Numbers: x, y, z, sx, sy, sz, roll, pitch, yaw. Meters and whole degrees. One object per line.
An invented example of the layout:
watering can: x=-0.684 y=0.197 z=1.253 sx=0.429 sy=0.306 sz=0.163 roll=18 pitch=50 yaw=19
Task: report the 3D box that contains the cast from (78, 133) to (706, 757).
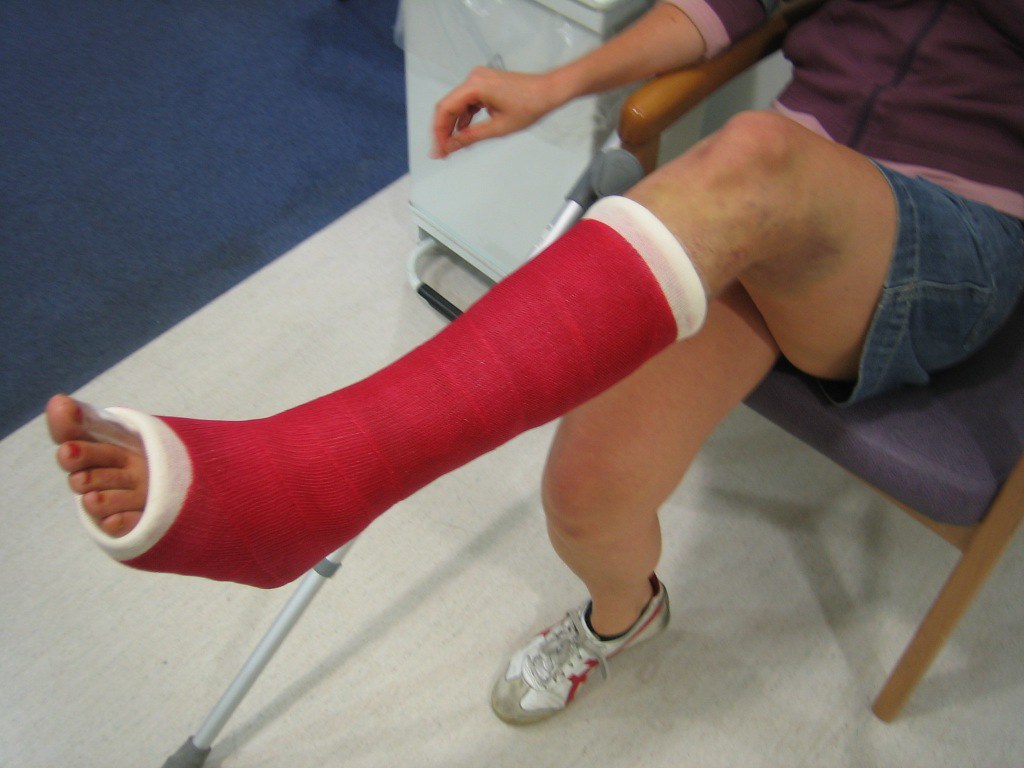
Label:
cast: x=-0.054 y=0.063 z=0.846 sx=0.557 sy=0.219 sz=0.329 roll=-34 pitch=68 yaw=4
